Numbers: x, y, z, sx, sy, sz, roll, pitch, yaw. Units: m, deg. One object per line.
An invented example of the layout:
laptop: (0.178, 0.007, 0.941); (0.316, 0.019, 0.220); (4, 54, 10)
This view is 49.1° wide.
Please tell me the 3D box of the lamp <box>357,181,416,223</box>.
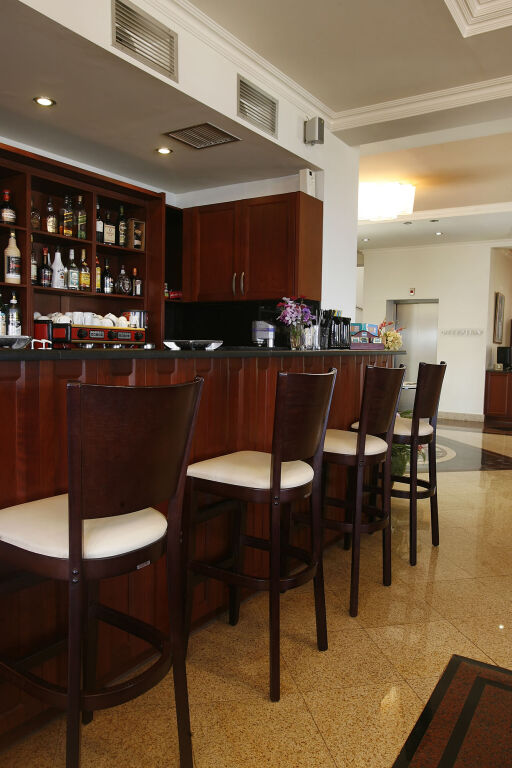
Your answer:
lamp: (1.236, -1.779, 5.353); (0.503, 0.306, 0.458); (1, 1, 9)

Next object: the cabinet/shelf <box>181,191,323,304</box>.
cabinet/shelf: (0.009, -1.020, 4.173); (0.979, 0.788, 0.396); (3, 5, 32)

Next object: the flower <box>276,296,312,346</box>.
flower: (0.210, -0.320, 2.922); (0.156, 0.283, 0.349); (1, 1, 6)

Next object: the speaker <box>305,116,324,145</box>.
speaker: (0.394, -1.702, 3.777); (0.114, 0.176, 0.164); (1, 1, 33)

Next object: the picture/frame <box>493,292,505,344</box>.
picture/frame: (3.816, -1.078, 8.851); (0.061, 0.940, 0.709); (0, 8, 19)

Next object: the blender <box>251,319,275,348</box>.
blender: (0.036, -0.254, 2.806); (0.099, 0.139, 0.124); (1, 1, 3)
